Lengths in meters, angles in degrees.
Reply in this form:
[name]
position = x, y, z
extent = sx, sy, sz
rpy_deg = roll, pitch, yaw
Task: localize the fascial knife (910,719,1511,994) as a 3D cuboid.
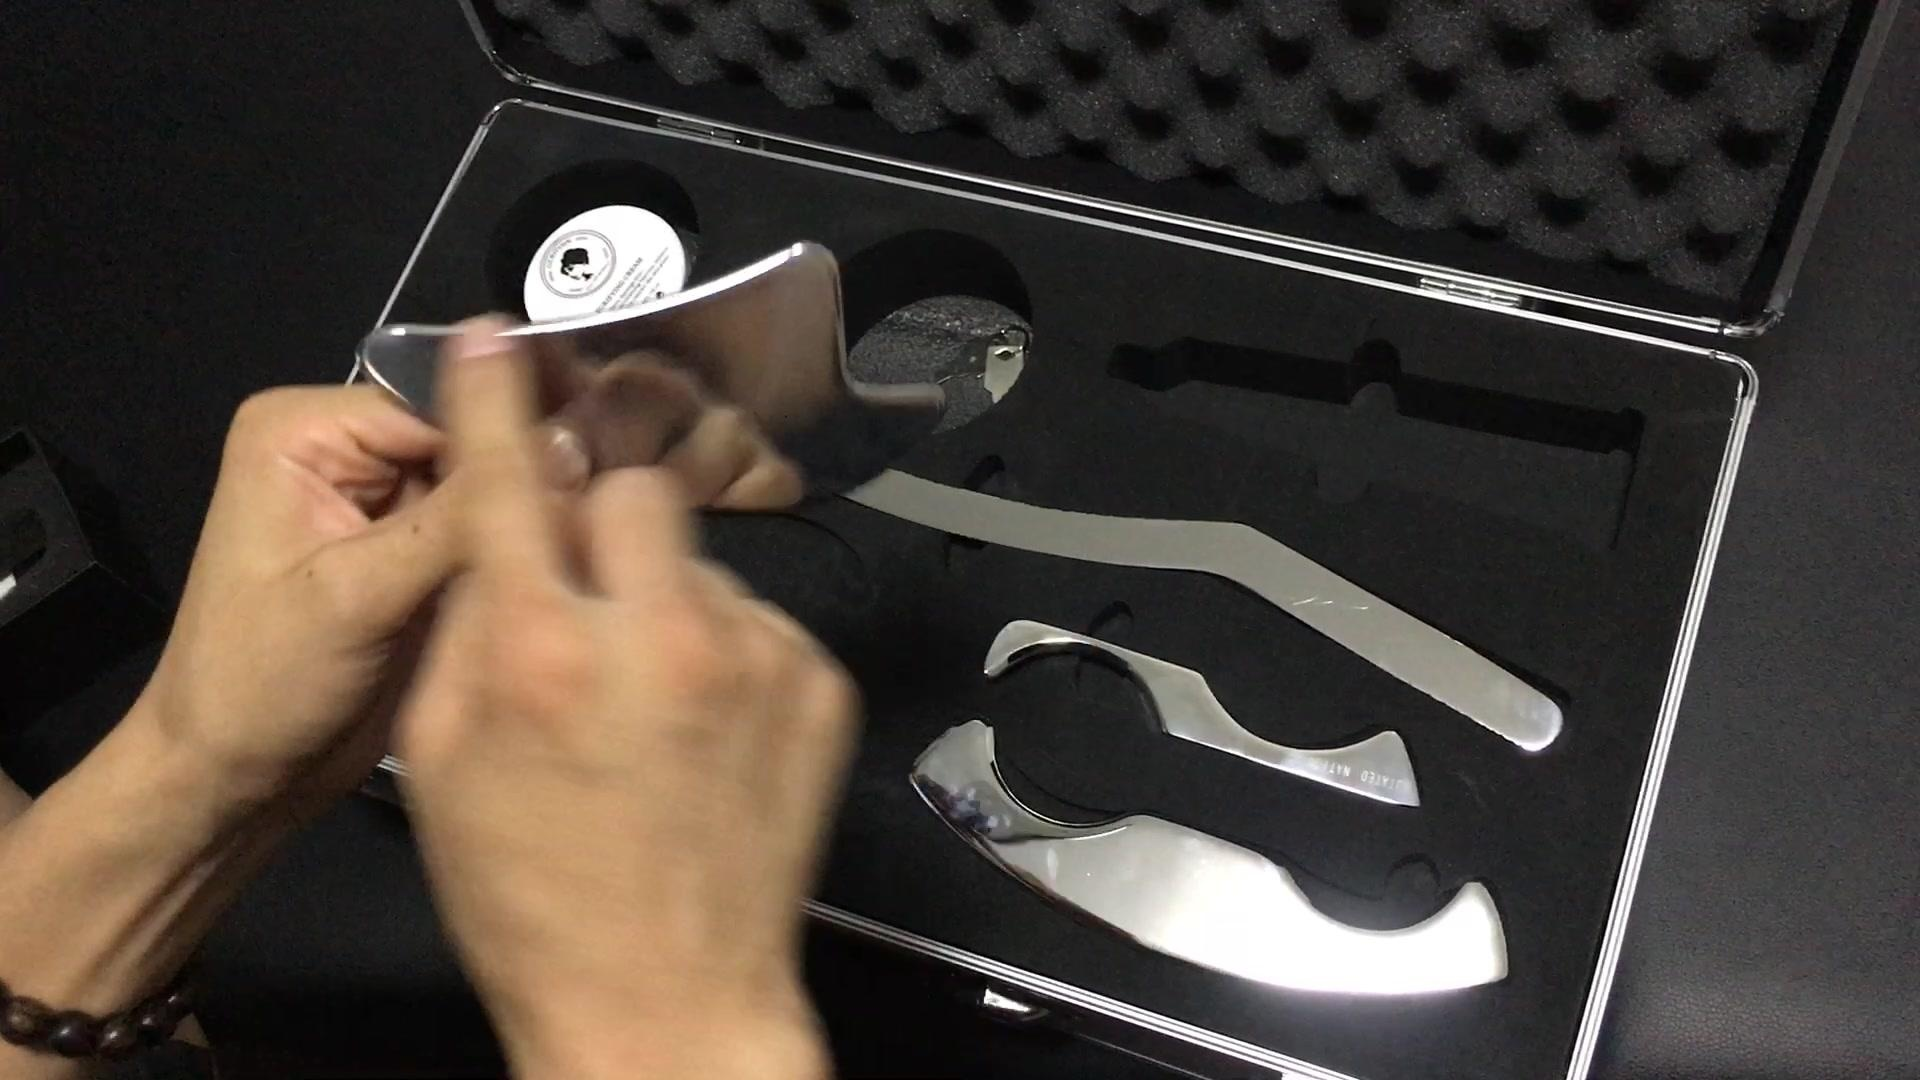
[fascial knife]
position = 0.217, 0.280, 1.560
extent = 0.465, 0.024, 0.166
rpy_deg = 21, 78, 9
